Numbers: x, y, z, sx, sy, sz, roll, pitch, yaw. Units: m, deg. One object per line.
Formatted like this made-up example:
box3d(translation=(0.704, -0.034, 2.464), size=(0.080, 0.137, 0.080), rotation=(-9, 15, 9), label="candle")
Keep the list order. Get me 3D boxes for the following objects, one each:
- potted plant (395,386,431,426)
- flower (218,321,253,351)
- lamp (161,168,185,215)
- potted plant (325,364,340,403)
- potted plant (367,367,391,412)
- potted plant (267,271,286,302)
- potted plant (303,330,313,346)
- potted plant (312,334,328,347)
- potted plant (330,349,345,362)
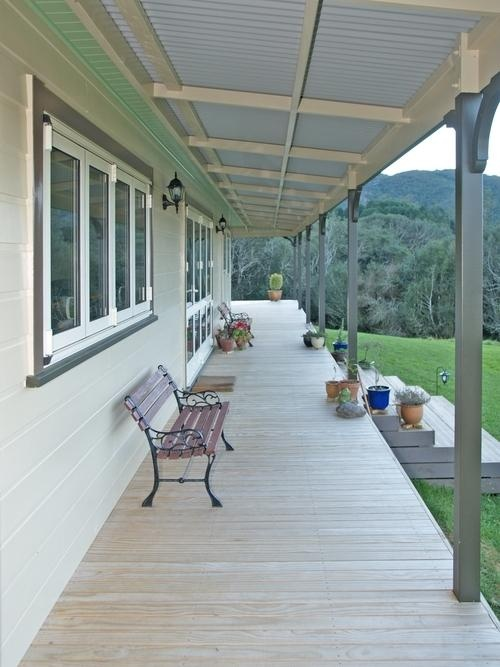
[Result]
box3d(translation=(1.982, 0.859, 5.956), size=(0.457, 0.537, 0.464), rotation=(0, -1, 6), label="potted plant")
box3d(translation=(-0.305, 0.093, 9.663), size=(0.628, 0.425, 0.555), rotation=(-4, 15, -3), label="flower")
box3d(translation=(-0.771, -1.451, 4.867), size=(0.212, 0.437, 0.586), rotation=(-1, 4, -9), label="lamp")
box3d(translation=(1.112, 0.686, 6.550), size=(0.248, 0.492, 0.244), rotation=(-1, 6, -7), label="potted plant")
box3d(translation=(1.502, 0.783, 5.731), size=(0.257, 0.284, 0.426), rotation=(1, 5, 13), label="potted plant")
box3d(translation=(1.178, -2.131, 22.582), size=(0.647, 1.256, 1.453), rotation=(0, 4, 0), label="potted plant")
box3d(translation=(1.207, 0.117, 10.121), size=(0.248, 0.210, 0.263), rotation=(0, 1, 1), label="potted plant")
box3d(translation=(1.398, 0.166, 9.956), size=(0.293, 0.268, 0.194), rotation=(0, 4, -5), label="potted plant")
box3d(translation=(1.616, 0.424, 8.921), size=(0.251, 0.184, 0.370), rotation=(1, 4, 8), label="potted plant")
